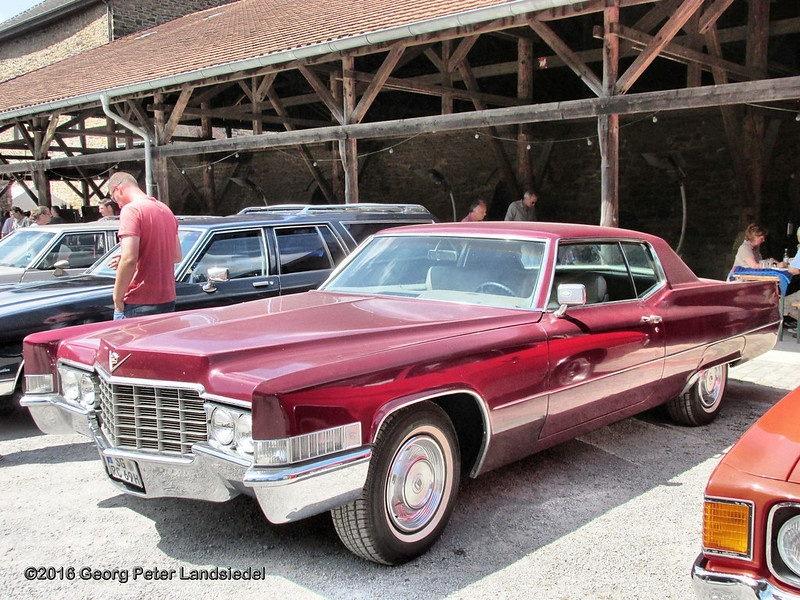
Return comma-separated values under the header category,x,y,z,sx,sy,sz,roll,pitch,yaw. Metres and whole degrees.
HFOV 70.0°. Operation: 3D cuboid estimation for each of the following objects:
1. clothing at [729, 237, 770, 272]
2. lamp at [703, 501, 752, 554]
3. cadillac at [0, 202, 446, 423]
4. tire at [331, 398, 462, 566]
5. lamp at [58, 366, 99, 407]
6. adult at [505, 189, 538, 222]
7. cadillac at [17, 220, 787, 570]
category,x,y,z,sx,sy,sz,roll,pitch,yaw
clothing,5.353,-0.658,8.788,0.452,0.553,0.729,-3,4,17
lamp,1.108,0.774,2.022,0.191,0.157,0.179,2,-2,12
cadillac,-1.666,-0.134,6.545,4.973,1.438,2.133,-4,5,-39
tire,0.013,0.954,2.971,0.747,0.836,0.188,-8,13,-39
lamp,-1.896,0.515,3.380,0.299,0.156,0.082,9,10,39
adult,2.288,-1.782,10.794,0.501,0.575,1.250,2,9,11
cadillac,0.662,0.531,4.088,4.733,1.130,2.185,-2,4,-39
